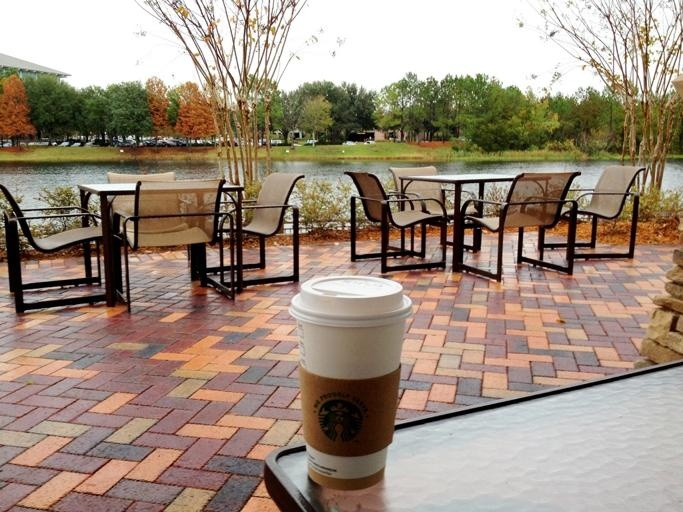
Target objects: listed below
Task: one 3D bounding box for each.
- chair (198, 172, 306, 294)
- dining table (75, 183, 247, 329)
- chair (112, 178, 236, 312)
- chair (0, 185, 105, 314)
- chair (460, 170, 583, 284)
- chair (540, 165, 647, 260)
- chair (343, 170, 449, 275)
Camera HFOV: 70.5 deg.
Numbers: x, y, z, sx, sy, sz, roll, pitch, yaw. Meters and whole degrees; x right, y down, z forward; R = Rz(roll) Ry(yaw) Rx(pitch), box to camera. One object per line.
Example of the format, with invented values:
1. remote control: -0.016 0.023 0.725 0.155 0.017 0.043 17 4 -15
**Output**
1. chair: -1.128 -0.317 5.443 1.091 1.038 1.169 7 11 41
2. dining table: -1.852 -0.135 4.870 1.310 0.904 1.045 -4 -1 -39
3. chair: -1.544 -0.129 4.441 1.139 1.075 0.984 -3 8 -30
4. chair: -3.173 -0.260 5.215 0.941 1.182 2.363 -9 15 -26
5. chair: 2.237 -0.427 6.109 1.215 1.161 1.073 -4 9 -22
6. chair: 3.465 -0.653 6.874 1.457 1.220 1.345 -2 14 15
7. chair: 0.718 -0.478 6.321 1.353 1.107 1.085 -6 13 -33
